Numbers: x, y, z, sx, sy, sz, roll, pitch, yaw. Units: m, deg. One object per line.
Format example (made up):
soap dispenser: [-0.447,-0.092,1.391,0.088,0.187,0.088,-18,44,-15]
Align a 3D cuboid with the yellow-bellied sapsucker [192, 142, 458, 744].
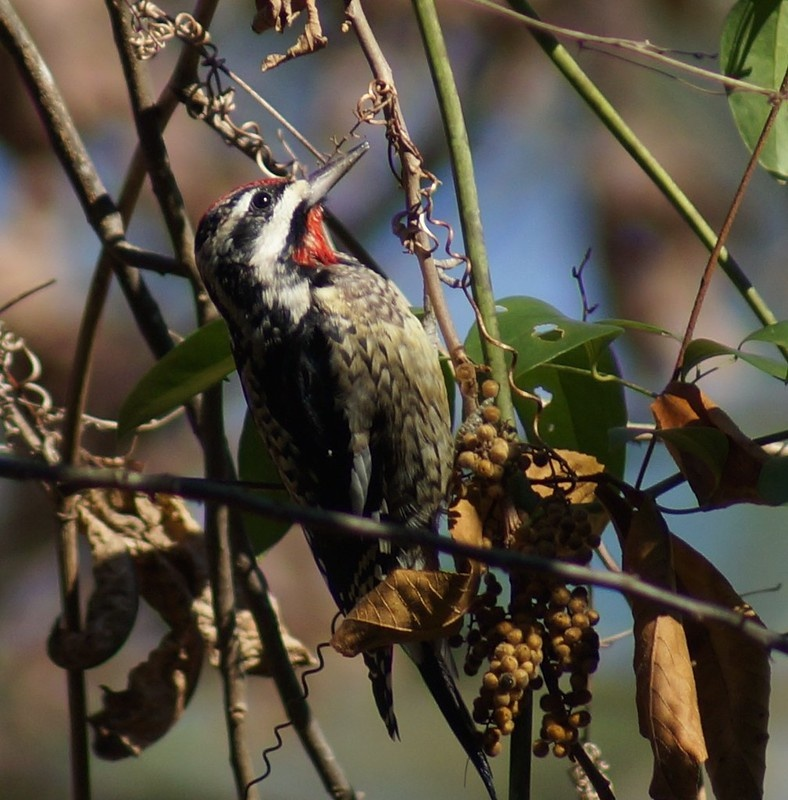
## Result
yellow-bellied sapsucker: [-0.029,0.024,2.287,0.273,0.202,0.672,-25,-68,2]

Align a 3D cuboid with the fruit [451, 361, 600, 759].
fruit: [0.142,0.191,1.898,0.153,0.321,0.252,-7,-47,6]
